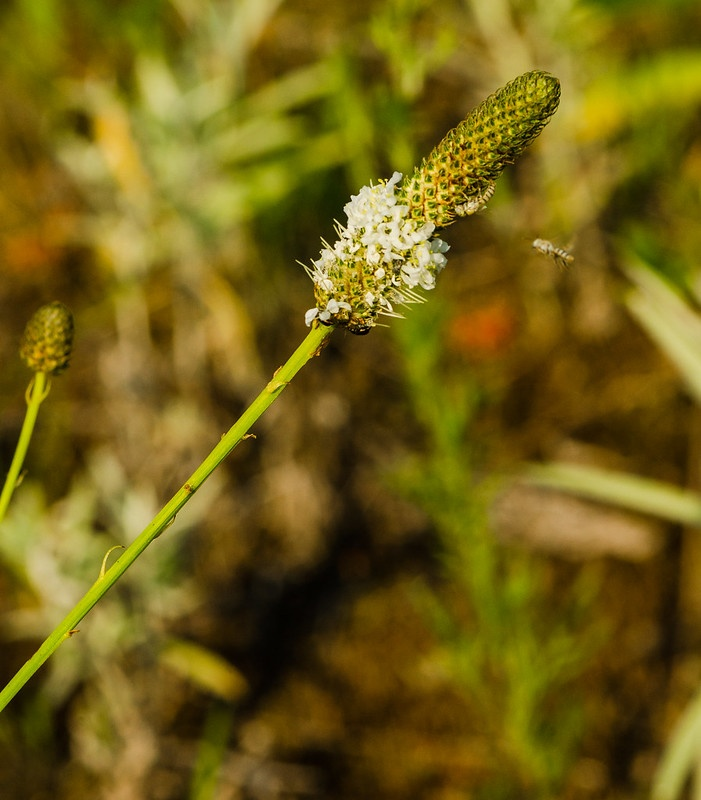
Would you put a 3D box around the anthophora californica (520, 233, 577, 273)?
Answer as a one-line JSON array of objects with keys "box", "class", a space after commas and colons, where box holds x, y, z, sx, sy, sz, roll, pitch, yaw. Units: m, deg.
[{"box": [0.265, -0.192, 1.167, 0.050, 0.014, 0.046, 22, 36, 8], "class": "anthophora californica"}]

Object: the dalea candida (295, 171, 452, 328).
[{"box": [0.028, -0.140, 0.900, 0.167, 0.126, 0.094, -32, 15, 23], "class": "dalea candida"}]
